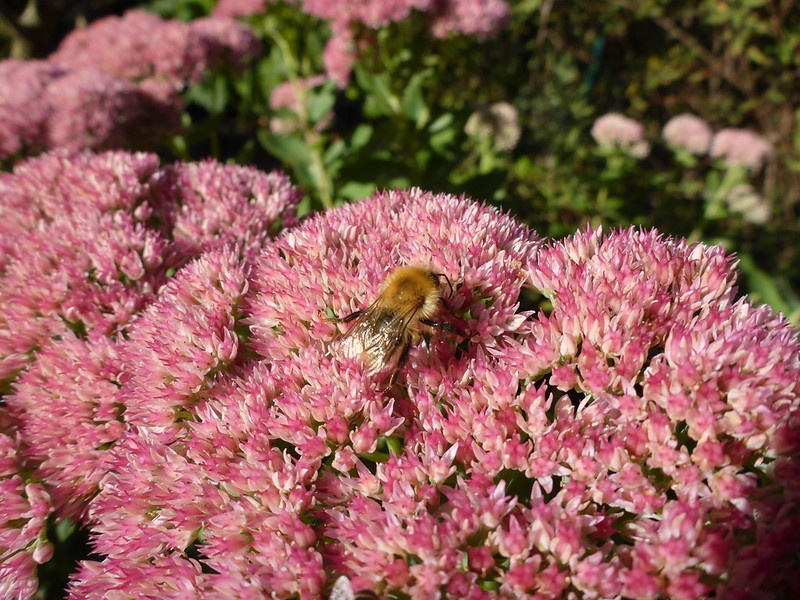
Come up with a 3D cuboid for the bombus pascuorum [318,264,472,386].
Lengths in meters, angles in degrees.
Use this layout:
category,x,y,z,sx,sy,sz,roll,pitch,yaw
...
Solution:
category,x,y,z,sx,sy,sz,roll,pitch,yaw
bombus pascuorum,-0.009,0.059,2.310,0.281,0.130,0.385,26,64,33
